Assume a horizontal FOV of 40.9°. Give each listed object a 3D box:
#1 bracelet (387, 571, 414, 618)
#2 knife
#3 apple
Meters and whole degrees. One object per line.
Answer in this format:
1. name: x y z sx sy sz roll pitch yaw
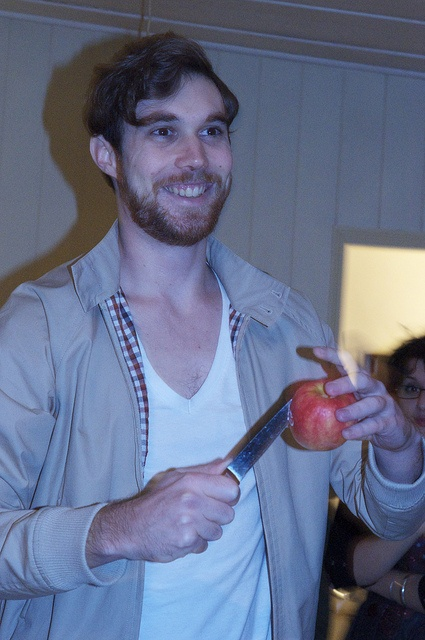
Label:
1. bracelet: 0.524 0.769 1.608 0.020 0.077 0.081 1 11 -11
2. knife: 0.107 0.170 1.009 0.044 0.026 0.318 40 41 5
3. apple: 0.167 0.159 0.964 0.118 0.107 0.117 8 8 -12
